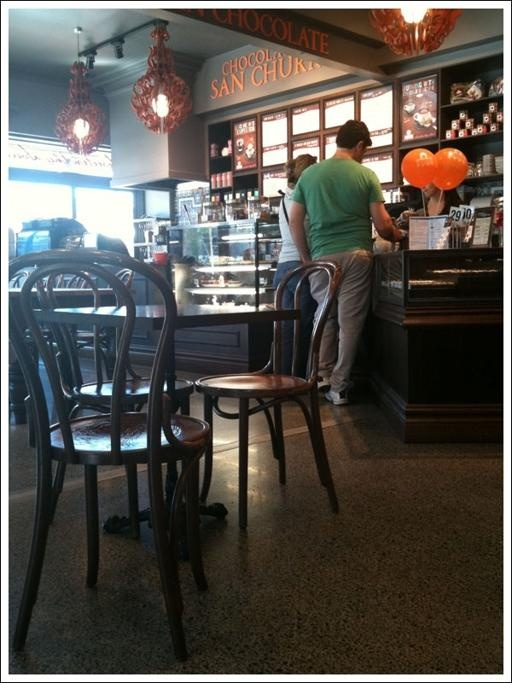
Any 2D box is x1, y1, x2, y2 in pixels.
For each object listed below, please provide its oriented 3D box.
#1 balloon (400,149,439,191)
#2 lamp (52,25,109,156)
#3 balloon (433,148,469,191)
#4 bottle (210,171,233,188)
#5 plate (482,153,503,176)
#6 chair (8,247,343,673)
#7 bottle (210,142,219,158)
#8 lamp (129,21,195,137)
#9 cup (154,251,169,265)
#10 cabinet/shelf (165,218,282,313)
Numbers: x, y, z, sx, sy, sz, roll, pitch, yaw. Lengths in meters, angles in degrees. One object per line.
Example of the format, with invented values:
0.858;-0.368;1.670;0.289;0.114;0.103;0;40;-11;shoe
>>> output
1.076;-1.169;3.389;0.203;0.259;0.245;-1;3;5;balloon
-1.945;-2.689;5.725;0.513;1.054;0.404;2;4;40;lamp
1.263;-1.156;3.360;0.190;0.257;0.255;0;3;19;balloon
-0.462;-2.204;6.952;0.272;0.293;0.153;4;7;29;bottle
2.148;-1.622;4.702;0.173;0.231;0.238;1;4;26;plate
-0.325;0.192;1.497;0.994;0.915;0.977;0;3;11;chair
-0.574;-2.629;7.011;0.123;0.237;0.126;10;29;-5;bottle
-0.848;-2.453;4.762;0.541;0.808;0.954;-2;3;-19;lamp
-1.082;-0.955;5.809;0.144;0.110;0.144;3;11;0;cup
-0.253;-0.702;4.654;1.138;1.192;0.571;1;1;37;cabinet/shelf
